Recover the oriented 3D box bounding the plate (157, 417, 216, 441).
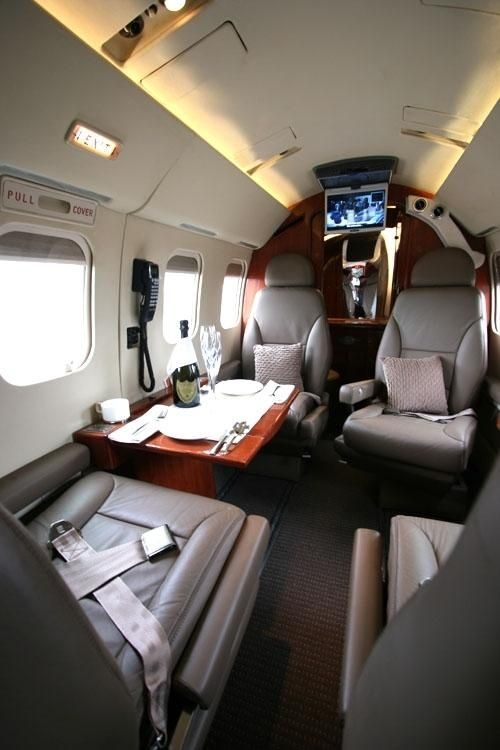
[{"bbox_3d":[-0.216,0.199,1.771,0.237,0.028,0.191,0,14,5],"label":"plate"}]

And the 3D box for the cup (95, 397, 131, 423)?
[{"bbox_3d":[-0.532,0.141,1.950,0.109,0.081,0.087,-2,17,10],"label":"cup"}]

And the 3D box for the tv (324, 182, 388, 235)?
[{"bbox_3d":[0.684,-1.087,3.167,0.264,0.216,0.024,3,18,21],"label":"tv"}]

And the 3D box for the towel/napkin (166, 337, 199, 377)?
[{"bbox_3d":[-0.302,-0.082,2.186,0.105,0.263,0.103,13,26,25],"label":"towel/napkin"}]

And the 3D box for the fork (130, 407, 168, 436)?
[{"bbox_3d":[-0.378,0.170,1.946,0.046,0.023,0.161,13,23,4],"label":"fork"}]

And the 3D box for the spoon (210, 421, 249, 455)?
[{"bbox_3d":[-0.060,0.202,1.675,0.047,0.010,0.186,3,18,11],"label":"spoon"}]

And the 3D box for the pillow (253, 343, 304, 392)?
[{"bbox_3d":[0.179,-0.047,2.889,0.237,0.269,0.096,-4,-15,19],"label":"pillow"}]
